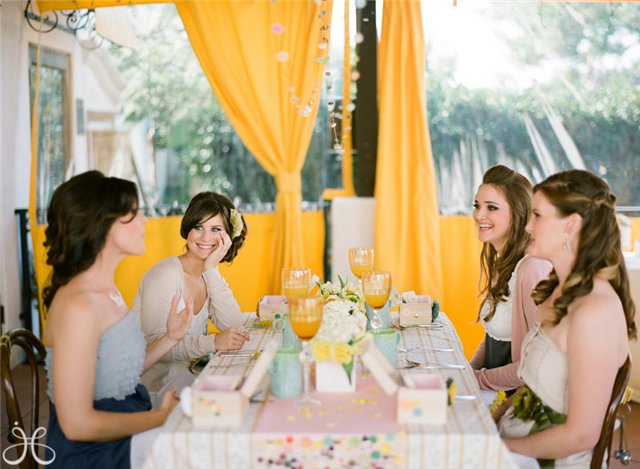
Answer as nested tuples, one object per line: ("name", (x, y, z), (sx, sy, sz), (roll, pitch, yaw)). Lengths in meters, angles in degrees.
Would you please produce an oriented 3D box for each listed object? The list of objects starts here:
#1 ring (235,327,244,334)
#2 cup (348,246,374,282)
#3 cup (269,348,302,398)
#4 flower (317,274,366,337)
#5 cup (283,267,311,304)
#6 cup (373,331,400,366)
("ring", (-0.374, 0.441, 2.632), (0.020, 0.009, 0.027), (21, 9, 26))
("cup", (0.179, 0.131, 2.810), (0.134, 0.227, 0.142), (0, -4, 0))
("cup", (-0.124, 0.498, 2.058), (0.125, 0.181, 0.153), (0, -2, 1))
("flower", (0.106, 0.284, 2.222), (0.204, 0.260, 0.203), (2, -10, -8))
("cup", (-0.083, 0.217, 2.397), (0.124, 0.150, 0.125), (0, -3, 0))
("cup", (0.263, 0.442, 2.234), (0.088, 0.131, 0.142), (-6, 2, 5))
